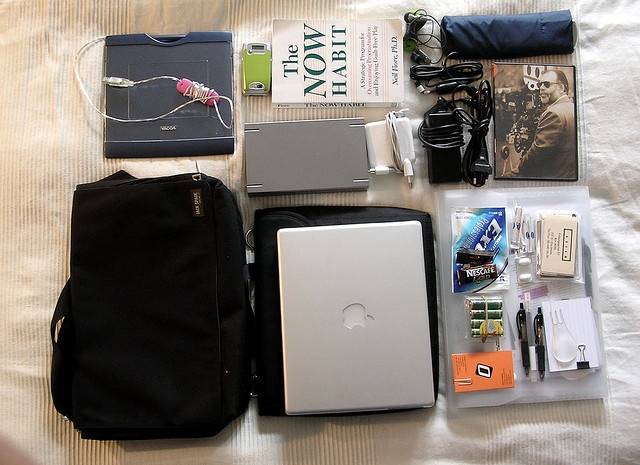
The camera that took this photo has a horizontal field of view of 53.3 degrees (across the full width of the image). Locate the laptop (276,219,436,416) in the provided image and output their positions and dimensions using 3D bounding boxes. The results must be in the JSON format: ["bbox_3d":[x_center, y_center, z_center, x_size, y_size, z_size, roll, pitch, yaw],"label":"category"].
[{"bbox_3d":[0.116,0.277,2.074,0.540,0.639,0.130,-11,1,-3],"label":"laptop"}]

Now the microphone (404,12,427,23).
[{"bbox_3d":[0.318,-0.720,2.144,0.063,0.032,0.042,-11,45,0],"label":"microphone"}]

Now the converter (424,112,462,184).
[{"bbox_3d":[0.409,-0.277,2.172,0.158,0.201,0.173,8,48,7],"label":"converter"}]

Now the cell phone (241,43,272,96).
[{"bbox_3d":[-0.214,-0.560,2.183,0.103,0.057,0.190,1,80,4],"label":"cell phone"}]
